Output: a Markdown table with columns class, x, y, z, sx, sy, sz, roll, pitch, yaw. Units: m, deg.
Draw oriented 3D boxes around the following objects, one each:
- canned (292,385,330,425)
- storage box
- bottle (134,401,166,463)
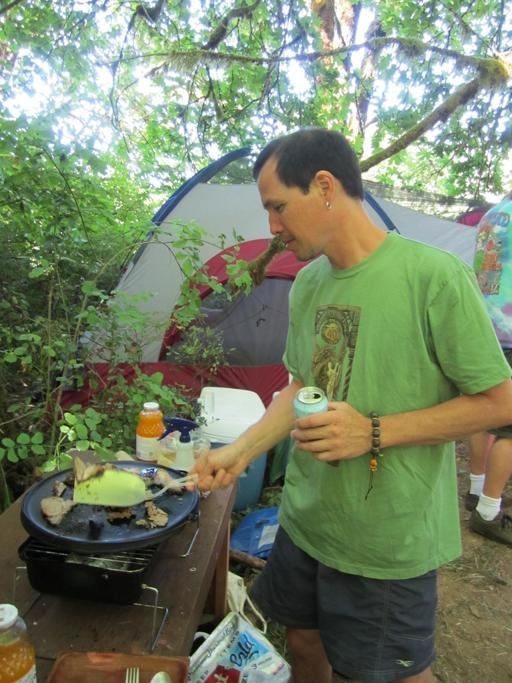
| class | x | y | z | sx | sy | sz | roll | pitch | yaw |
| --- | --- | --- | --- | --- | --- | --- | --- | --- | --- |
| canned | 0.148 | 0.168 | 1.329 | 0.094 | 0.081 | 0.087 | -1 | 10 | 3 |
| storage box | -0.154 | 0.699 | 3.372 | 0.702 | 0.644 | 1.056 | 0 | 0 | 6 |
| bottle | -0.461 | 0.367 | 2.137 | 0.108 | 0.279 | 0.103 | 1 | -1 | 0 |
